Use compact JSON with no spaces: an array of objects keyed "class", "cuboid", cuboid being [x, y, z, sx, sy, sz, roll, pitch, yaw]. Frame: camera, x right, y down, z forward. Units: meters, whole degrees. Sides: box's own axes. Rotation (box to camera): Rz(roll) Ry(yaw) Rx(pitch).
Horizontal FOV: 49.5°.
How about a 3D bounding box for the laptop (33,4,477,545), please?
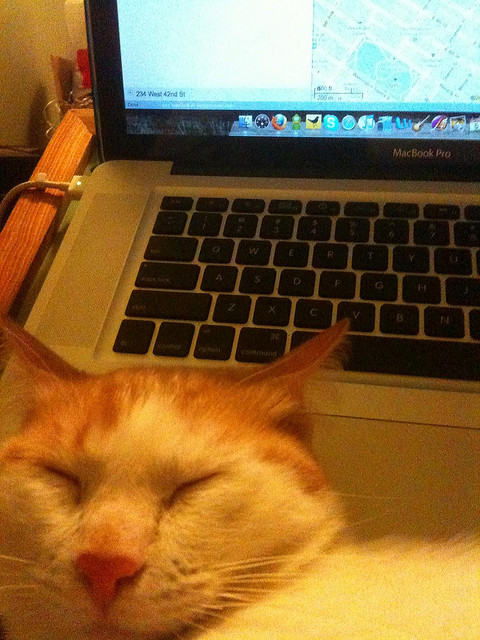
[{"class":"laptop","cuboid":[0.027,-0.005,0.434,0.309,0.199,0.321,3,58,6]}]
